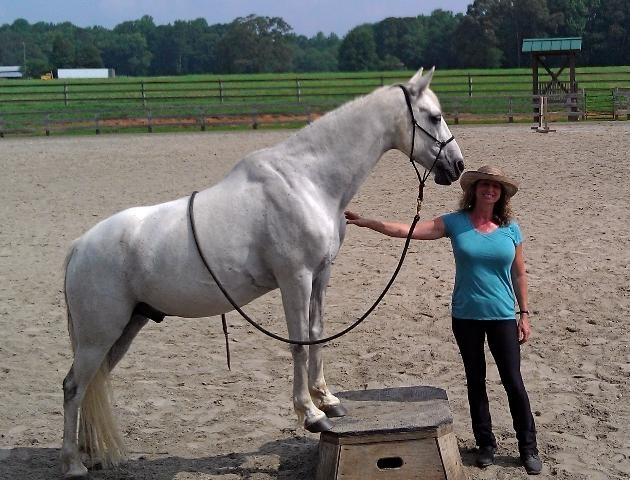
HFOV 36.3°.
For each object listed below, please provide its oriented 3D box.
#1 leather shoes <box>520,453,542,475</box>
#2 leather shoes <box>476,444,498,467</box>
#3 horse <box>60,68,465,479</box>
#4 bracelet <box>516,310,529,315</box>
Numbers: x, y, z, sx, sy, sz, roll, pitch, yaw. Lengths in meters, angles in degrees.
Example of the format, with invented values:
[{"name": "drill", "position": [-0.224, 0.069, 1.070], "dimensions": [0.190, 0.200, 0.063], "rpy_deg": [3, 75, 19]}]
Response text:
[{"name": "leather shoes", "position": [2.166, 2.218, 9.571], "dimensions": [0.111, 0.115, 0.281], "rpy_deg": [-4, 18, -2]}, {"name": "leather shoes", "position": [1.731, 2.170, 9.648], "dimensions": [0.211, 0.202, 0.505], "rpy_deg": [-2, -4, 9]}, {"name": "horse", "position": [-0.715, 0.307, 9.522], "dimensions": [3.902, 3.806, 1.189], "rpy_deg": [-7, 15, -15]}, {"name": "bracelet", "position": [2.111, 0.733, 9.843], "dimensions": [0.172, 0.048, 0.125], "rpy_deg": [-1, -4, 20]}]
